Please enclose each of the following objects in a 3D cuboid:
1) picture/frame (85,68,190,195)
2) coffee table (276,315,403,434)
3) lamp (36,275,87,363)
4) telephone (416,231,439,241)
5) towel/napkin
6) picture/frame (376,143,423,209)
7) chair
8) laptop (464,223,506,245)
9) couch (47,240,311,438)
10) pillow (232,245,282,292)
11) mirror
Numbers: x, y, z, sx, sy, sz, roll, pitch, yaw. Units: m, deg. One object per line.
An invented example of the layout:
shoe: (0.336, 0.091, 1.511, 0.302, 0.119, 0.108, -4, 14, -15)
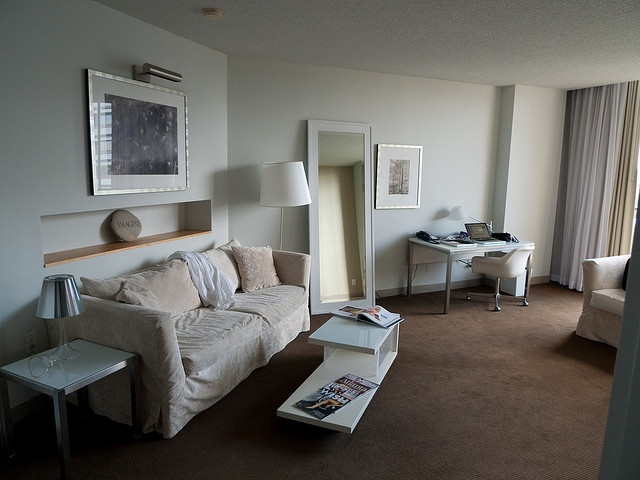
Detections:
picture/frame: (-1.631, -0.921, 4.018, 0.045, 0.966, 1.170, 9, 13, 22)
coffee table: (0.226, 0.966, 3.567, 0.580, 0.384, 1.360, 4, 10, 24)
lamp: (-1.757, 0.510, 2.970, 0.262, 0.577, 0.452, -5, 11, -30)
telephone: (1.397, -0.047, 5.767, 0.202, 0.073, 0.148, 20, 10, 36)
towel/napkin: (-1.076, 0.345, 4.094, 0.191, 0.607, 0.461, -28, 2, 33)
picture/frame: (1.011, -0.861, 5.731, 0.866, 1.029, 0.035, -1, 5, -24)
chair: (2.349, 0.436, 5.688, 0.711, 0.753, 0.666, -5, 9, -42)
laptop: (2.120, -0.091, 5.772, 0.357, 0.212, 0.323, -3, 5, -27)
couch: (-1.139, 0.218, 3.549, 1.164, 1.144, 2.541, 3, 8, 22)
pillow: (-0.669, 0.285, 4.549, 0.144, 0.456, 0.482, -27, -14, 39)
mirror: (0.270, -0.271, 5.537, 0.935, 0.067, 2.417, -7, 36, 6)
